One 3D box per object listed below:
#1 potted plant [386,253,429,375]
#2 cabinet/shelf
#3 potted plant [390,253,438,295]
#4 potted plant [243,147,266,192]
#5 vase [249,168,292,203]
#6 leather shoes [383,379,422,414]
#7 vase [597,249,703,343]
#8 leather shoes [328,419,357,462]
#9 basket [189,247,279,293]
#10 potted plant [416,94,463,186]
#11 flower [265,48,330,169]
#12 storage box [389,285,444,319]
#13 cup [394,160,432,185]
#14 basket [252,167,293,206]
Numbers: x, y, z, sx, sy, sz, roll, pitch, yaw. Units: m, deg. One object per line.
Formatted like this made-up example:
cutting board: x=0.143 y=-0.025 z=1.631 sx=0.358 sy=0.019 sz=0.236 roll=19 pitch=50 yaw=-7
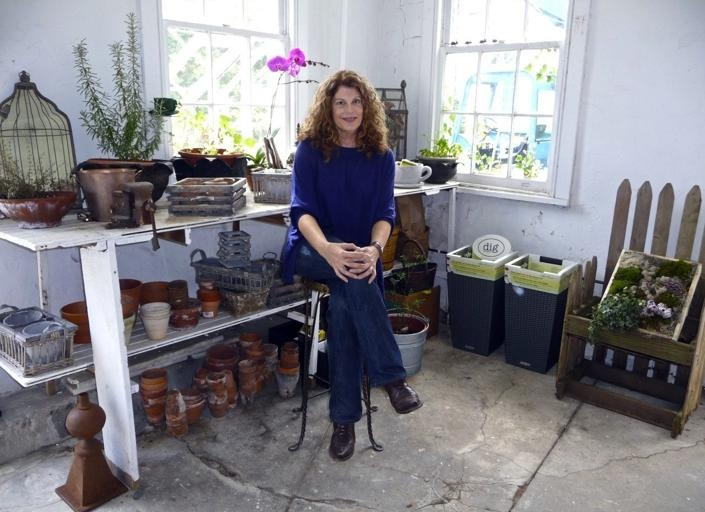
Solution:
potted plant: x=0.413 y=0.437 z=3.755 sx=0.411 sy=0.593 sz=0.785 roll=-2 pitch=12 yaw=6
cabinet/shelf: x=-0.806 y=0.521 z=2.969 sx=0.441 sy=0.670 sz=1.652 roll=10 pitch=21 yaw=41
potted plant: x=0.508 y=0.145 z=4.127 sx=0.331 sy=0.247 sz=0.259 roll=-9 pitch=8 yaw=-28
potted plant: x=-0.724 y=-0.664 z=3.674 sx=0.171 sy=0.263 sz=0.204 roll=15 pitch=12 yaw=43
vase: x=-0.536 y=-0.465 z=3.299 sx=0.224 sy=0.151 sz=0.230 roll=3 pitch=21 yaw=1
leather shoes: x=0.289 y=0.796 z=2.921 sx=0.154 sy=0.147 sz=0.349 roll=-11 pitch=9 yaw=-8
vase: x=1.890 y=0.264 z=3.205 sx=0.463 sy=0.470 sz=0.598 roll=13 pitch=20 yaw=41
leather shoes: x=-0.050 y=1.050 z=2.950 sx=0.139 sy=0.156 sz=0.384 roll=3 pitch=10 yaw=3
basket: x=-0.782 y=0.097 z=3.204 sx=0.476 sy=0.248 sz=0.295 roll=9 pitch=20 yaw=19
potted plant: x=0.739 y=-0.842 z=4.281 sx=0.310 sy=0.546 sz=0.423 roll=1 pitch=-4 yaw=-9
flower: x=-0.454 y=-1.071 z=3.803 sx=0.599 sy=0.947 sz=0.416 roll=-4 pitch=22 yaw=-15
storage box: x=0.514 y=0.322 z=4.160 sx=0.309 sy=0.205 sz=0.320 roll=9 pitch=12 yaw=42
cup: x=0.472 y=-0.654 z=3.940 sx=0.276 sy=0.151 sz=0.207 roll=3 pitch=13 yaw=-2
basket: x=-0.526 y=-0.469 z=3.284 sx=0.233 sy=0.182 sz=0.233 roll=-5 pitch=18 yaw=-21
